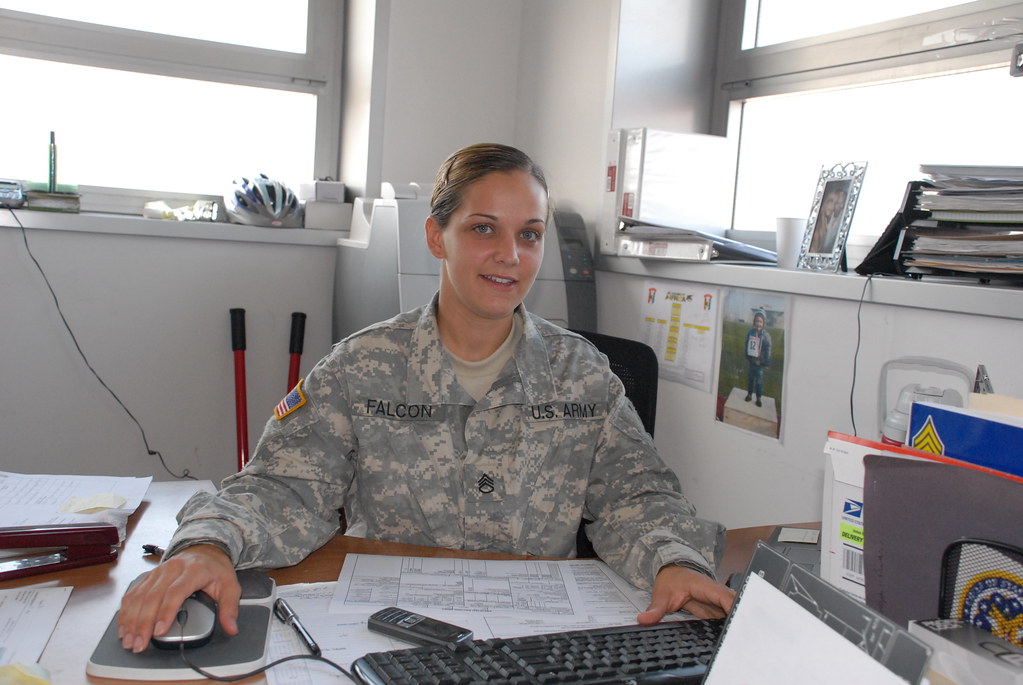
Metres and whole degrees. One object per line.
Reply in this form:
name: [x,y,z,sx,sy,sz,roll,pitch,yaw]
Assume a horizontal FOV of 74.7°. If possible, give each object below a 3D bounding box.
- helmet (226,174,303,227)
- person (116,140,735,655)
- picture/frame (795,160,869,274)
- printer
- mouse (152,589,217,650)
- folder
helmet: [-1.048,-0.593,2.856,0.324,0.233,0.242,0,15,-26]
person: [-0.192,0.017,1.639,1.122,0.861,0.760,-1,13,-14]
picture/frame: [0.835,-0.347,1.900,0.142,0.383,0.275,3,6,-12]
printer: [-0.241,-0.359,2.778,0.964,0.584,0.734,-2,14,-26]
mouse: [-0.454,0.392,0.961,0.091,0.040,0.120,1,14,-4]
folder: [0.562,-0.313,2.160,0.294,0.078,0.278,15,4,42]
